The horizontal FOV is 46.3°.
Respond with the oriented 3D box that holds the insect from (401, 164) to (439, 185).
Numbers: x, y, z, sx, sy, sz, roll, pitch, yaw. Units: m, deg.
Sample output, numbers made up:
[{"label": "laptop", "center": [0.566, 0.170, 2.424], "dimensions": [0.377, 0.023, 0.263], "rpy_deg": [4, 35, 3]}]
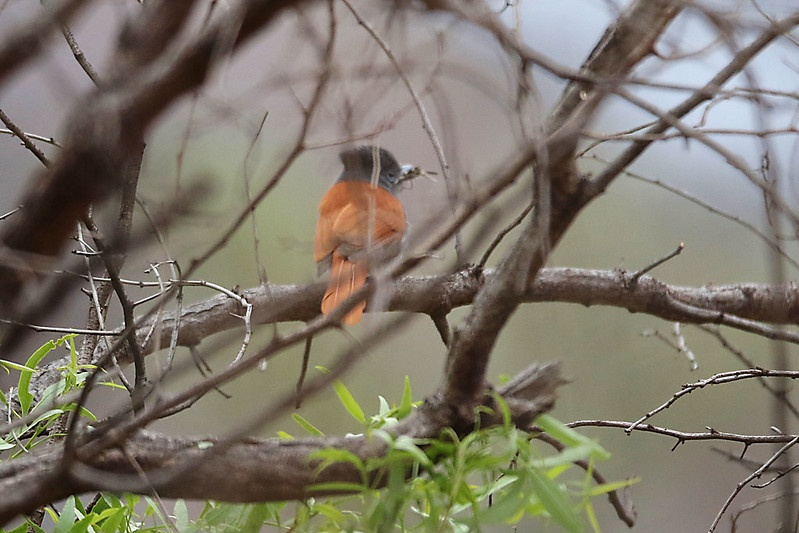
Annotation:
[{"label": "insect", "center": [0.027, -0.155, 1.553], "dimensions": [0.044, 0.035, 0.020], "rpy_deg": [-15, -84, 36]}]
